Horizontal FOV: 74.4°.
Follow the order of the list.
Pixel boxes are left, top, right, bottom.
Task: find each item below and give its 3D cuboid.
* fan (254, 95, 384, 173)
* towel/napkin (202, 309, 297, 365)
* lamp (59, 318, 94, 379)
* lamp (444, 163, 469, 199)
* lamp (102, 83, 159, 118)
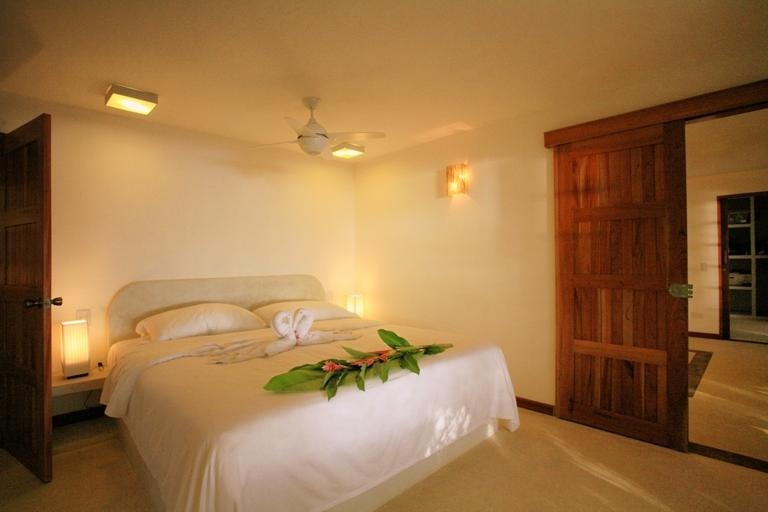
[{"bbox_3d":[-0.684,-1.265,4.925,1.262,0.452,1.266,-3,6,11],"label":"fan"},{"bbox_3d":[-1.166,0.710,4.632,0.593,0.226,0.431,-7,5,-37],"label":"towel/napkin"},{"bbox_3d":[-3.023,0.913,4.971,0.220,0.584,0.147,-1,0,-35],"label":"lamp"},{"bbox_3d":[0.871,-0.916,6.061,0.305,0.386,0.068,-1,0,44],"label":"lamp"},{"bbox_3d":[-2.496,-1.562,5.032,0.466,0.279,0.330,-1,0,-29],"label":"lamp"}]
